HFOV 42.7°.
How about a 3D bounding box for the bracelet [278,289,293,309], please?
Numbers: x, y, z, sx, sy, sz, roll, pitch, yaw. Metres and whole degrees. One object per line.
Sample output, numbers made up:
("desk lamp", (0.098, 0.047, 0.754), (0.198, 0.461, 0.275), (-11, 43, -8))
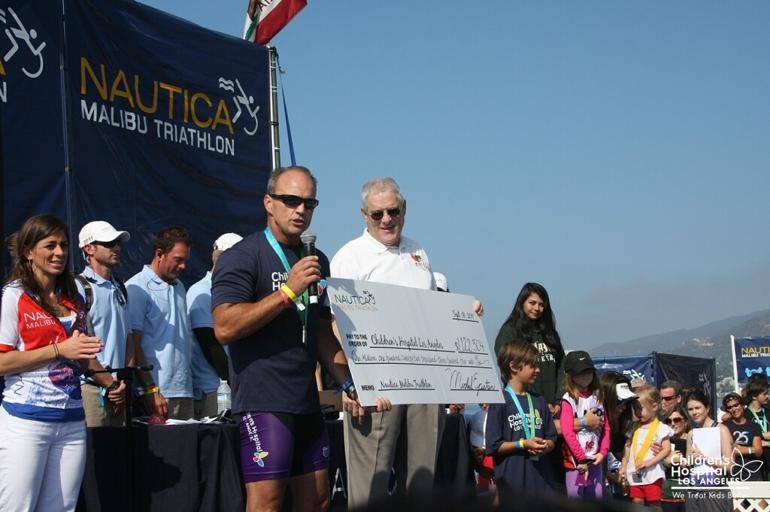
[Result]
("bracelet", (-0.840, 0.357, 8.280), (0.036, 0.136, 0.138), (-36, 13, -24))

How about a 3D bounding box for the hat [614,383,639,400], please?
("hat", (2.867, 1.593, 11.663), (0.224, 0.237, 0.457), (-6, -14, 16))

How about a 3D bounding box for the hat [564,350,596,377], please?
("hat", (2.169, 1.195, 11.014), (0.344, 0.275, 0.358), (-5, -14, 14))

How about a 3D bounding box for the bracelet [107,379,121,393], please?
("bracelet", (-2.673, 1.275, 9.691), (0.108, 0.114, 0.112), (29, -33, -15))

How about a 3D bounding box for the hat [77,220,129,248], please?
("hat", (-3.003, -0.229, 10.457), (0.413, 0.215, 0.309), (-9, -3, 3))

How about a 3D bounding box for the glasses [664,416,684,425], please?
("glasses", (3.907, 2.204, 13.214), (0.156, 0.056, 0.150), (25, -32, -32))

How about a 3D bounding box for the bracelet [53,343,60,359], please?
("bracelet", (-2.953, 0.847, 8.812), (0.063, 0.128, 0.039), (3, -14, -19))

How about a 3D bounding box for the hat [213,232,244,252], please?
("hat", (-1.860, -0.191, 11.693), (0.342, 0.262, 0.499), (1, -7, -10))

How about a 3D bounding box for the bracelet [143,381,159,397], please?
("bracelet", (-2.417, 1.371, 10.142), (0.107, 0.109, 0.119), (-12, -20, 32))
